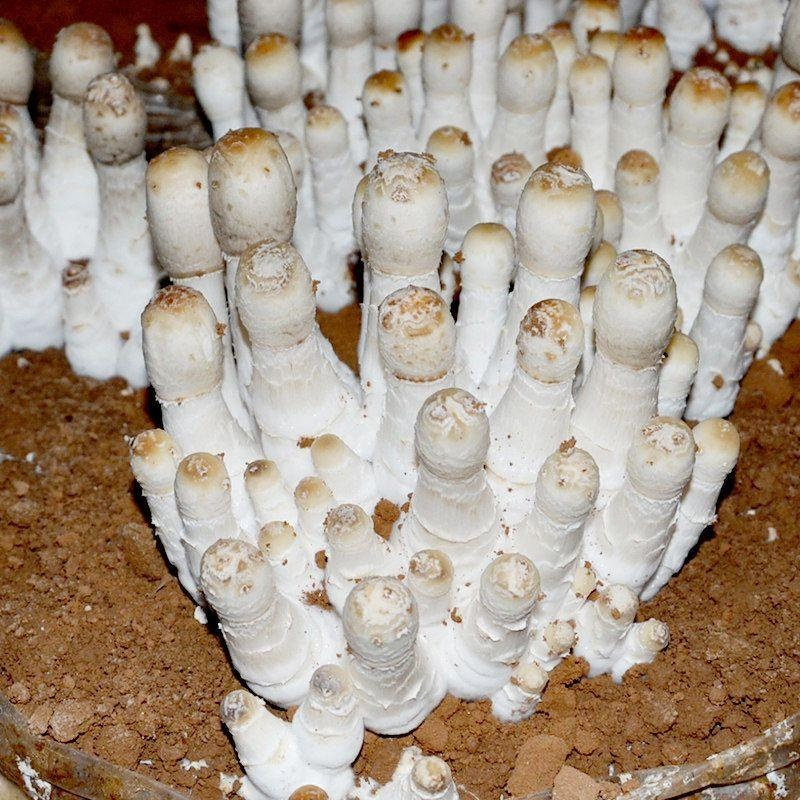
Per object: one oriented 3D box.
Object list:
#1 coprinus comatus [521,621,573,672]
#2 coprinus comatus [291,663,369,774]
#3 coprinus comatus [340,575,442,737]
[{"bbox_3d":[0.413,0.680,3.682,0.111,0.153,0.066,36,30,-6],"label":"coprinus comatus"},{"bbox_3d":[-0.193,0.828,3.428,0.170,0.252,0.184,17,50,9],"label":"coprinus comatus"},{"bbox_3d":[-0.010,0.686,3.422,0.259,0.644,0.162,0,50,-1],"label":"coprinus comatus"}]
